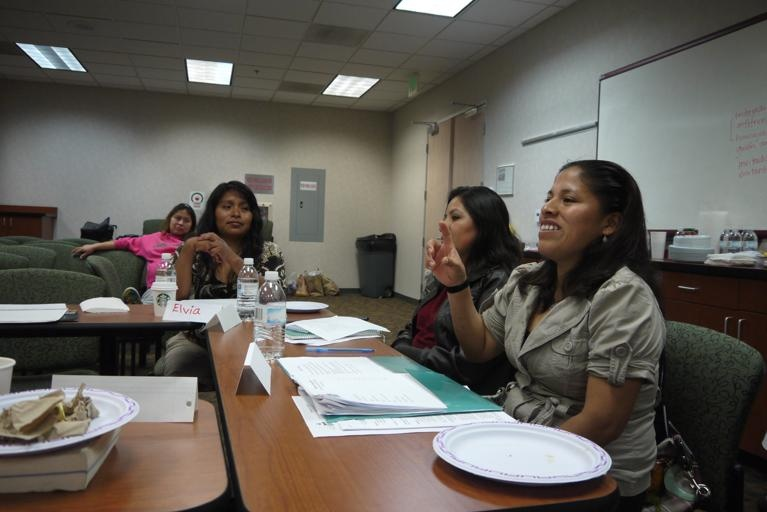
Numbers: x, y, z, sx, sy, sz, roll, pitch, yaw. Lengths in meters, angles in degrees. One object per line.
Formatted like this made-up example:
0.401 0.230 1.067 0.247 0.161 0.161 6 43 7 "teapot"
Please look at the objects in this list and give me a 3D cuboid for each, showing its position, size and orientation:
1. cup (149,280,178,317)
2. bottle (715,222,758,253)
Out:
-0.993 0.189 2.193 0.143 0.158 0.144 1 -9 0 "cup"
2.291 -0.124 3.133 0.155 0.276 0.150 1 -6 0 "bottle"
